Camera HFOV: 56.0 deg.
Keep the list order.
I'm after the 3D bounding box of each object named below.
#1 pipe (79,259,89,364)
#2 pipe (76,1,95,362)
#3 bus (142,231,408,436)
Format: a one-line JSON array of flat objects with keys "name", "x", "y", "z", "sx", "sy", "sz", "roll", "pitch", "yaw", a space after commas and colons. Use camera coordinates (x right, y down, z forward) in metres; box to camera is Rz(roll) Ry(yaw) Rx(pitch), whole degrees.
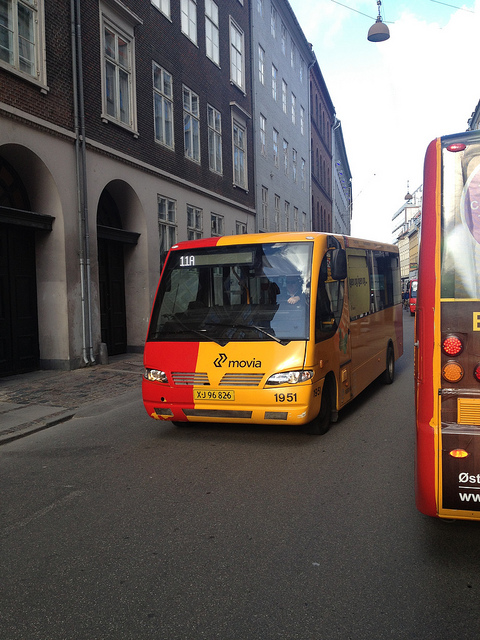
[{"name": "pipe", "x": -4.159, "y": -0.222, "z": 11.957, "sx": 0.085, "sy": 2.748, "sz": 0.249, "roll": -1, "pitch": -2, "yaw": 11}, {"name": "pipe", "x": -4.198, "y": -3.704, "z": 12.152, "sx": 0.200, "sy": 9.682, "sz": 0.600, "roll": -1, "pitch": -2, "yaw": 8}, {"name": "bus", "x": 0.914, "y": 0.140, "z": 7.258, "sx": 2.020, "sy": 2.995, "sz": 4.835, "roll": 0, "pitch": 1, "yaw": 21}]
